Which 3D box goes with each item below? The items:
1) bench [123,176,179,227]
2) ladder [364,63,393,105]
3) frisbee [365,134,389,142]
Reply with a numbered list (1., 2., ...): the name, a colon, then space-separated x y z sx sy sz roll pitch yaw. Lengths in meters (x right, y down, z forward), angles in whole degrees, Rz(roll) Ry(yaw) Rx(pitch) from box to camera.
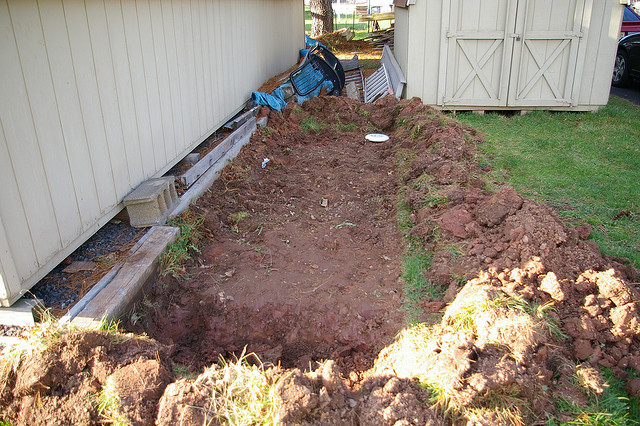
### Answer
1. bench: -2.263 -0.149 5.467 0.423 0.397 0.827 -9 21 2
2. ladder: 1.654 -3.620 11.401 0.708 0.786 2.224 2 28 5
3. frisbee: 1.228 -1.592 8.511 0.485 0.079 0.378 0 28 1
